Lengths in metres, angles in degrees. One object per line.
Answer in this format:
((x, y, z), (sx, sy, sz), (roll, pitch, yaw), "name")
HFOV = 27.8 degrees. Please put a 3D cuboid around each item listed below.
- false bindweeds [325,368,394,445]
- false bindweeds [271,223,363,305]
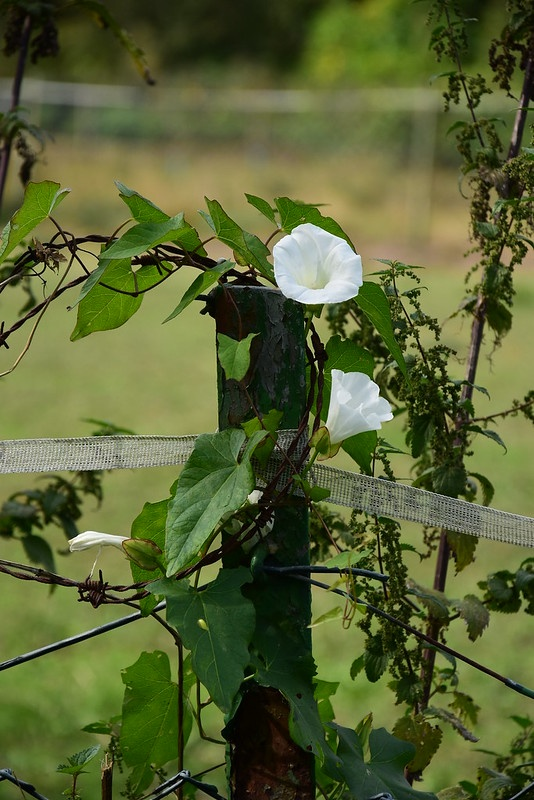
((0.067, 0.004, 0.836), (0.074, 0.063, 0.048), (0, 4, 10), "false bindweeds")
((0.038, -0.106, 0.831), (0.068, 0.073, 0.046), (4, -11, -1), "false bindweeds")
